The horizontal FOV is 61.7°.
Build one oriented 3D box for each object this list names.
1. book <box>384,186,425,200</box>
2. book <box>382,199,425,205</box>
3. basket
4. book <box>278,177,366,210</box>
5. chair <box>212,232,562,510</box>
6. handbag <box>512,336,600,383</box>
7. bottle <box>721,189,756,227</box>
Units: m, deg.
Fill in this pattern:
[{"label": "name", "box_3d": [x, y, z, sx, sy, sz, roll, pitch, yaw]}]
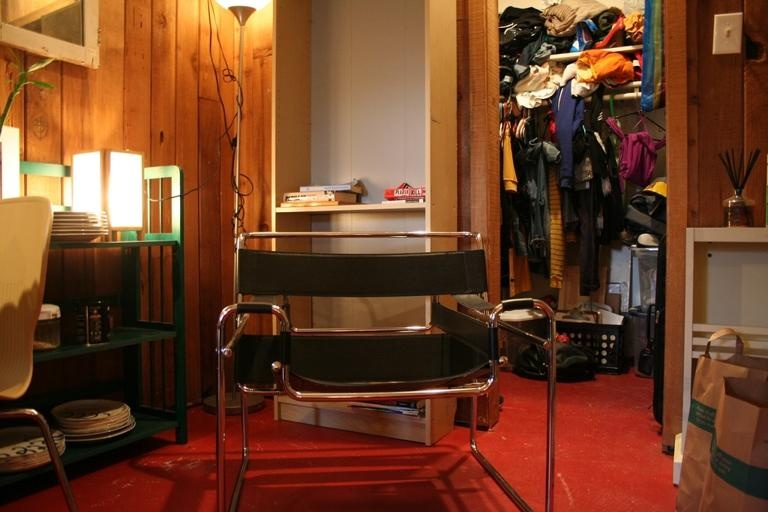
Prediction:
[{"label": "book", "box_3d": [0.118, -0.326, 3.415, 0.237, 0.075, 0.076, 0, 1, 25]}, {"label": "book", "box_3d": [0.108, -0.275, 3.352, 0.225, 0.038, 0.099, 0, 2, 26]}, {"label": "basket", "box_3d": [1.508, 0.595, 4.685, 0.444, 0.279, 0.455, 1, 2, 11]}, {"label": "book", "box_3d": [-0.341, -0.344, 3.563, 0.460, 0.161, 0.162, -1, 1, 5]}, {"label": "chair", "box_3d": [0.018, 0.303, 3.028, 1.632, 1.437, 1.164, 0, -2, -4]}, {"label": "handbag", "box_3d": [1.138, 0.717, 4.303, 0.557, 0.230, 0.433, 0, -1, -32]}, {"label": "bottle", "box_3d": [1.627, -0.201, 2.955, 0.116, 0.140, 0.090, 0, 1, 28]}]
